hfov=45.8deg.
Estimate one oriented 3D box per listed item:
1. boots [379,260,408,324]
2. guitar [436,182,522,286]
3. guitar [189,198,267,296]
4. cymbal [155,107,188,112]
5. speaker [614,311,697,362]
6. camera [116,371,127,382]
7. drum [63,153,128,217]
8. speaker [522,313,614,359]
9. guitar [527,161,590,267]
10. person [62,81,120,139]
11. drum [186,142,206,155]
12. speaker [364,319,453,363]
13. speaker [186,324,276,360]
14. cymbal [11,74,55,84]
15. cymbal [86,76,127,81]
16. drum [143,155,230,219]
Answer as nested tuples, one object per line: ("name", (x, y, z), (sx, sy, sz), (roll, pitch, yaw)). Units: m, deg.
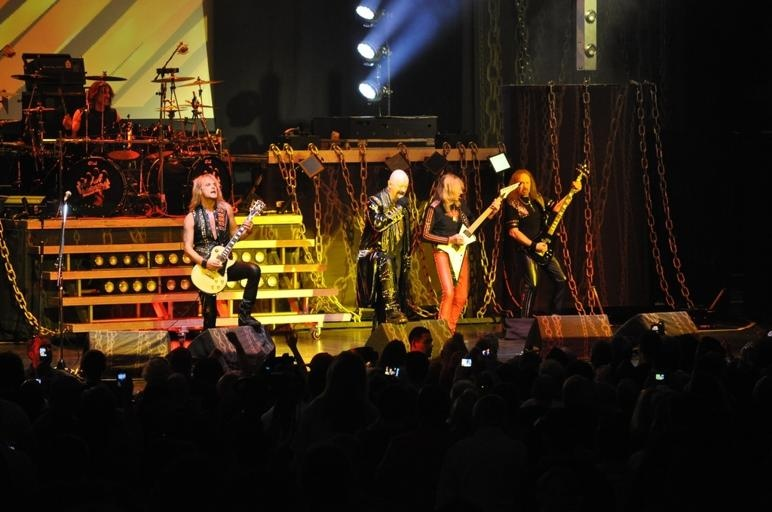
("boots", (0.102, 0.358, 10.263), (0.313, 0.723, 0.269), (-3, 2, -18))
("guitar", (1.031, -0.286, 10.809), (1.557, 0.555, 0.184), (-44, 18, -22))
("guitar", (-1.849, -0.060, 9.812), (0.368, 0.990, 0.094), (15, 26, 9))
("cymbal", (-3.228, -2.239, 13.871), (0.249, 0.090, 0.253), (2, 9, 15))
("speaker", (2.504, 0.738, 8.410), (0.526, 0.372, 0.371), (-2, 5, -23))
("camera", (-1.985, 0.915, 6.872), (0.075, 0.137, 0.075), (2, -21, -14))
("drum", (-3.913, -1.019, 12.382), (0.901, 0.919, 0.906), (9, 20, -15))
("speaker", (1.909, 0.799, 9.542), (0.769, 0.396, 0.532), (0, -2, -11))
("guitar", (2.281, -0.634, 11.634), (0.628, 1.191, 1.373), (-1, 2, 15))
("person", (-4.275, -2.165, 13.447), (0.782, 0.845, 0.874), (2, 6, -12))
("drum", (-2.716, -1.550, 13.186), (0.271, 0.220, 0.572), (-3, 3, -12))
("speaker", (0.377, 0.901, 9.451), (0.984, 0.461, 0.997), (-4, 0, 19))
("speaker", (-1.523, 0.877, 9.493), (0.803, 0.267, 0.585), (0, 1, -43))
("cymbal", (-5.207, -2.616, 13.427), (0.266, 0.062, 0.261), (-2, -1, -43))
("cymbal", (-4.205, -2.669, 13.678), (0.253, 0.041, 0.244), (-1, 1, 3))
("drum", (-2.587, -0.893, 11.864), (0.531, 0.695, 0.704), (6, 33, 46))
